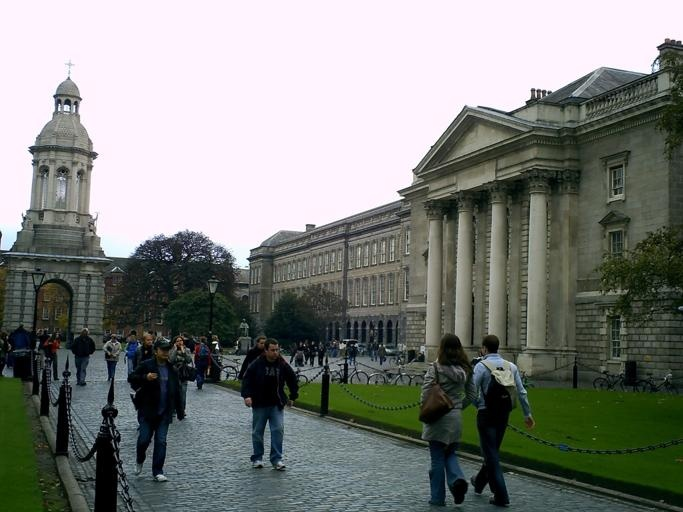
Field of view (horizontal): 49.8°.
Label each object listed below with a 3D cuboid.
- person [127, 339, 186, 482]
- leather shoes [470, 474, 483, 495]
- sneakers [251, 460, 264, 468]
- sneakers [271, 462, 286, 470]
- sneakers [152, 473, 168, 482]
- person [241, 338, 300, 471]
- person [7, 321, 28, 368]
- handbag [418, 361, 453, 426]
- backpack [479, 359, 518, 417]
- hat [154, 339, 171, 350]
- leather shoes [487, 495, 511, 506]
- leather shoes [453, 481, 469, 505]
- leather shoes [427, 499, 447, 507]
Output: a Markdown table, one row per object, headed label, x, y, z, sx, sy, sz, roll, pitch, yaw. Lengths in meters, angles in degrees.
| label | x | y | z | sx | sy | sz | roll | pitch | yaw |
| --- | --- | --- | --- | --- | --- | --- | --- | --- | --- |
| person | -2.994 | 2.435 | 11.715 | 0.729 | 2.192 | 0.563 | -1 | -9 | 6 |
| leather shoes | 2.068 | 3.473 | 11.218 | 0.196 | 0.331 | 0.165 | 8 | 17 | 15 |
| sneakers | -1.437 | 3.527 | 12.437 | 0.197 | 0.182 | 0.107 | 1 | -43 | 0 |
| sneakers | -1.050 | 3.540 | 12.297 | 0.102 | 0.102 | 0.236 | 7 | -15 | -40 |
| sneakers | -2.804 | 3.437 | 11.342 | 0.214 | 0.097 | 0.243 | 2 | -9 | -13 |
| person | -1.233 | 2.527 | 12.533 | 0.928 | 2.167 | 0.712 | 1 | -9 | -8 |
| person | -14.563 | 4.143 | 33.166 | 0.905 | 2.112 | 0.561 | 5 | 12 | -21 |
| handbag | 1.320 | 1.951 | 10.362 | 0.468 | 0.860 | 0.243 | -1 | -9 | 4 |
| backpack | 2.310 | 1.923 | 10.952 | 0.471 | 0.698 | 0.740 | -3 | 3 | -15 |
| hat | -2.905 | 1.449 | 11.880 | 0.260 | 0.136 | 0.353 | 2 | -5 | -27 |
| leather shoes | 2.239 | 3.522 | 10.523 | 0.115 | 0.124 | 0.313 | 4 | -13 | -33 |
| leather shoes | 1.649 | 3.324 | 10.347 | 0.167 | 0.193 | 0.486 | 0 | -53 | 0 |
| leather shoes | 1.338 | 3.457 | 10.267 | 0.175 | 0.116 | 0.092 | -2 | 0 | -4 |
